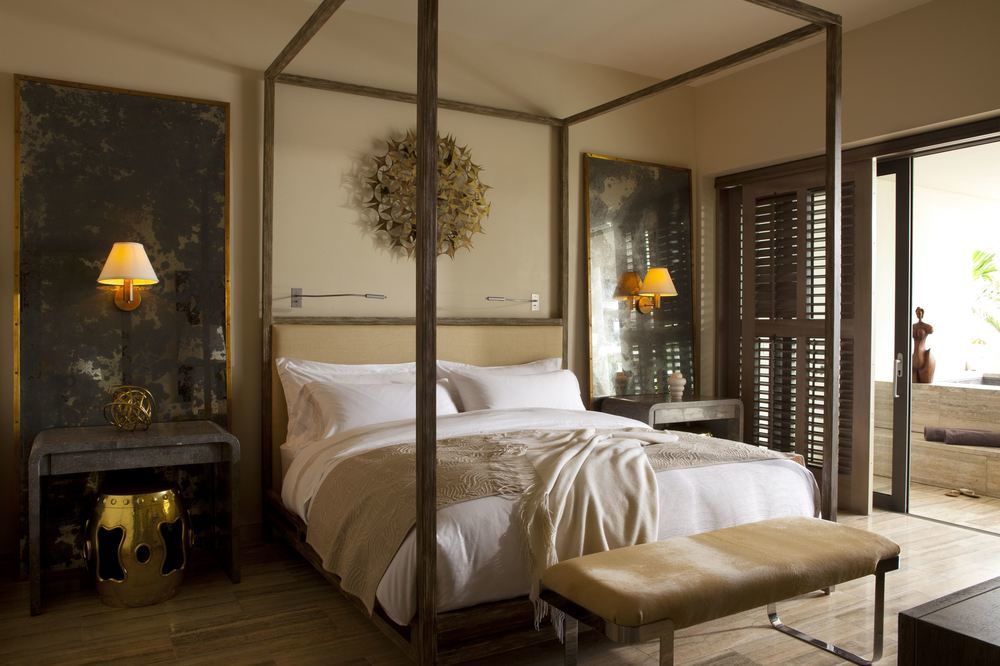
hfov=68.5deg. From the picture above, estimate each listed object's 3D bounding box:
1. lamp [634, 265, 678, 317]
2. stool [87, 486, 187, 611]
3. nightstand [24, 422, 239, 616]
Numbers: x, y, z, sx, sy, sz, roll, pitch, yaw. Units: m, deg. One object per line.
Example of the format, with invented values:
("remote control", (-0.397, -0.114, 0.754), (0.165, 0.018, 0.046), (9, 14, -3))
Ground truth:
("lamp", (1.363, -0.386, 6.389), (0.382, 0.373, 0.402), (-1, 1, -12))
("stool", (-2.299, 1.328, 4.586), (0.715, 0.670, 0.525), (1, -5, -40))
("nightstand", (-2.276, 1.077, 4.909), (1.291, 1.028, 0.849), (-3, 7, -8))
